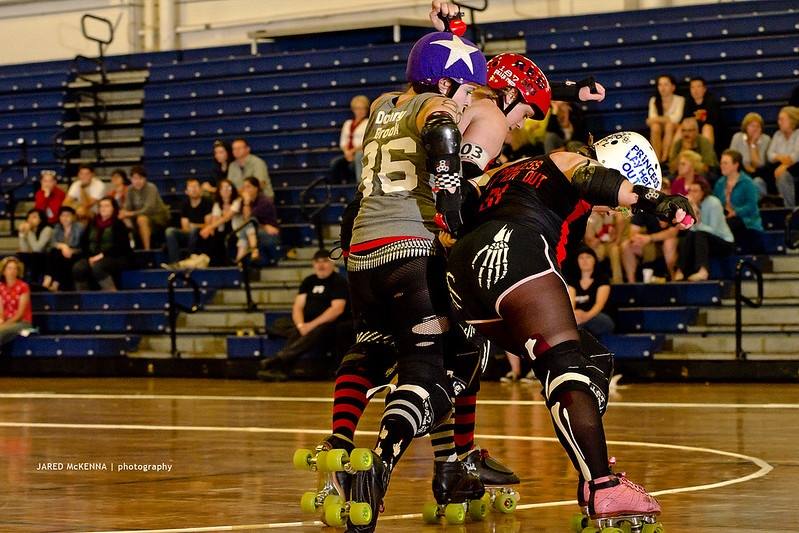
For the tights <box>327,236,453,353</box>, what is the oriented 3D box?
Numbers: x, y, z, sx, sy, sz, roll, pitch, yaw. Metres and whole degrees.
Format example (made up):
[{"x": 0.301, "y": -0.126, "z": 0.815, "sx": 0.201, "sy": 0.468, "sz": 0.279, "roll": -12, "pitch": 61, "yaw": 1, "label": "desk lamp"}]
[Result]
[{"x": -0.061, "y": 0.256, "z": 10.578, "sx": 0.967, "sy": 1.012, "sz": 0.592, "roll": -1, "pitch": 8, "yaw": 44, "label": "tights"}]

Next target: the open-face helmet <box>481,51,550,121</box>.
[{"x": 1.011, "y": -1.562, "z": 10.777, "sx": 0.570, "sy": 0.474, "sz": 0.408, "roll": 42, "pitch": -1, "yaw": 0, "label": "open-face helmet"}]

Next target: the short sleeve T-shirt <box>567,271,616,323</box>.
[{"x": 2.383, "y": 0.391, "z": 15.724, "sx": 0.549, "sy": 0.781, "sz": 0.765, "roll": -2, "pitch": -2, "yaw": 8, "label": "short sleeve T-shirt"}]

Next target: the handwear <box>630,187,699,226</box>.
[{"x": 2.109, "y": -0.450, "z": 10.067, "sx": 0.441, "sy": 0.291, "sz": 0.190, "roll": 21, "pitch": -24, "yaw": 4, "label": "handwear"}]

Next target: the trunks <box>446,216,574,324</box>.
[{"x": 0.762, "y": 0.049, "z": 10.456, "sx": 0.614, "sy": 0.914, "sz": 0.919, "roll": 6, "pitch": -13, "yaw": -20, "label": "trunks"}]

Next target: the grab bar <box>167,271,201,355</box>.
[{"x": -3.013, "y": 0.659, "z": 17.464, "sx": 0.425, "sy": 1.214, "sz": 0.269, "roll": -6, "pitch": -20, "yaw": -1, "label": "grab bar"}]

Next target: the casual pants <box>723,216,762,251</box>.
[{"x": 4.576, "y": -0.433, "z": 16.784, "sx": 0.384, "sy": 0.572, "sz": 0.550, "roll": -4, "pitch": 6, "yaw": -2, "label": "casual pants"}]

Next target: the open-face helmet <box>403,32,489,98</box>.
[{"x": 0.383, "y": -1.705, "z": 10.374, "sx": 0.556, "sy": 0.502, "sz": 0.515, "roll": -5, "pitch": 4, "yaw": 0, "label": "open-face helmet"}]

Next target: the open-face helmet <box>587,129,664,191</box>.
[{"x": 1.868, "y": -0.812, "z": 10.422, "sx": 0.575, "sy": 0.600, "sz": 0.516, "roll": 5, "pitch": -33, "yaw": -1, "label": "open-face helmet"}]
